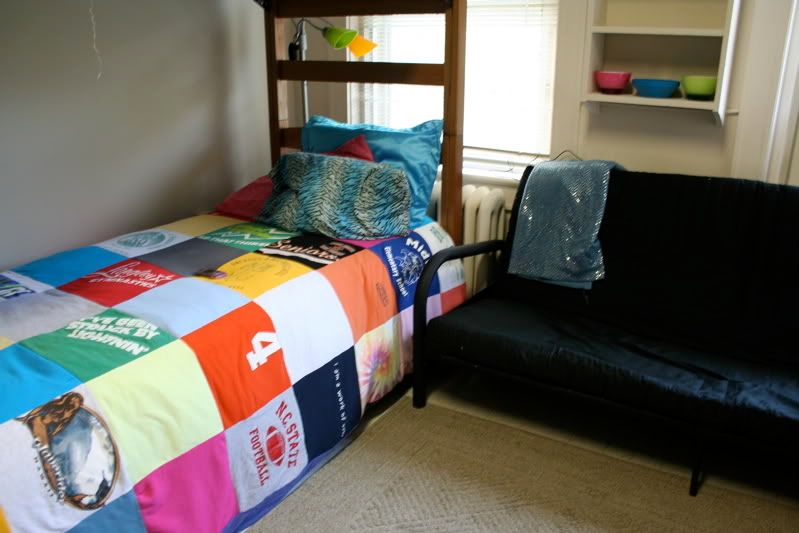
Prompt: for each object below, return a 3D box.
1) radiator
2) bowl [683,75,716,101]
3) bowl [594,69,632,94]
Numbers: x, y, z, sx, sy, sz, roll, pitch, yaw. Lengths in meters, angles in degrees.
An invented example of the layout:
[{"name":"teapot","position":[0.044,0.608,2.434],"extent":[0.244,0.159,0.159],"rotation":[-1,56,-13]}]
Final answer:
[{"name":"radiator","position":[0.349,-0.144,3.032],"extent":[0.280,0.837,0.457],"rotation":[-14,22,-39]},{"name":"bowl","position":[1.343,-0.798,2.574],"extent":[0.121,0.079,0.124],"rotation":[0,17,0]},{"name":"bowl","position":[1.016,-0.874,2.762],"extent":[0.154,0.100,0.154],"rotation":[0,23,0]}]
